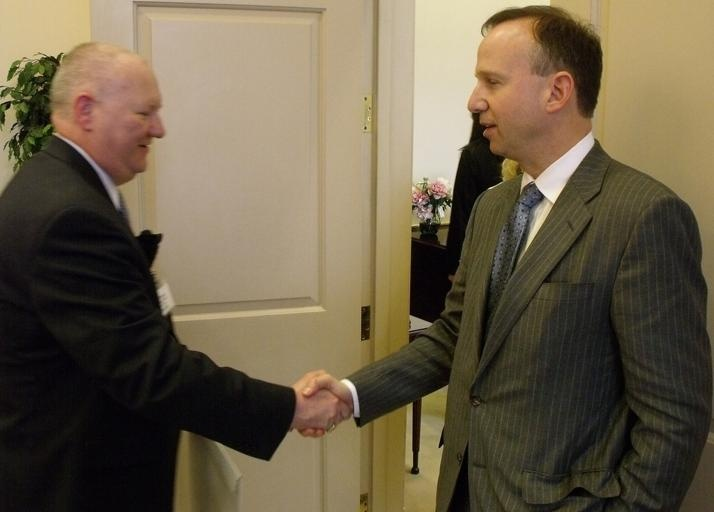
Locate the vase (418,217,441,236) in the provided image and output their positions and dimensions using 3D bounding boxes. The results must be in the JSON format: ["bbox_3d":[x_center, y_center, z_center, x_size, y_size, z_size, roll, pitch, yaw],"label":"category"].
[{"bbox_3d":[0.475,-0.195,4.049,0.111,0.125,0.114,5,20,6],"label":"vase"}]

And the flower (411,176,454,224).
[{"bbox_3d":[0.509,-0.353,4.073,0.293,0.332,0.315,-5,-17,26],"label":"flower"}]
